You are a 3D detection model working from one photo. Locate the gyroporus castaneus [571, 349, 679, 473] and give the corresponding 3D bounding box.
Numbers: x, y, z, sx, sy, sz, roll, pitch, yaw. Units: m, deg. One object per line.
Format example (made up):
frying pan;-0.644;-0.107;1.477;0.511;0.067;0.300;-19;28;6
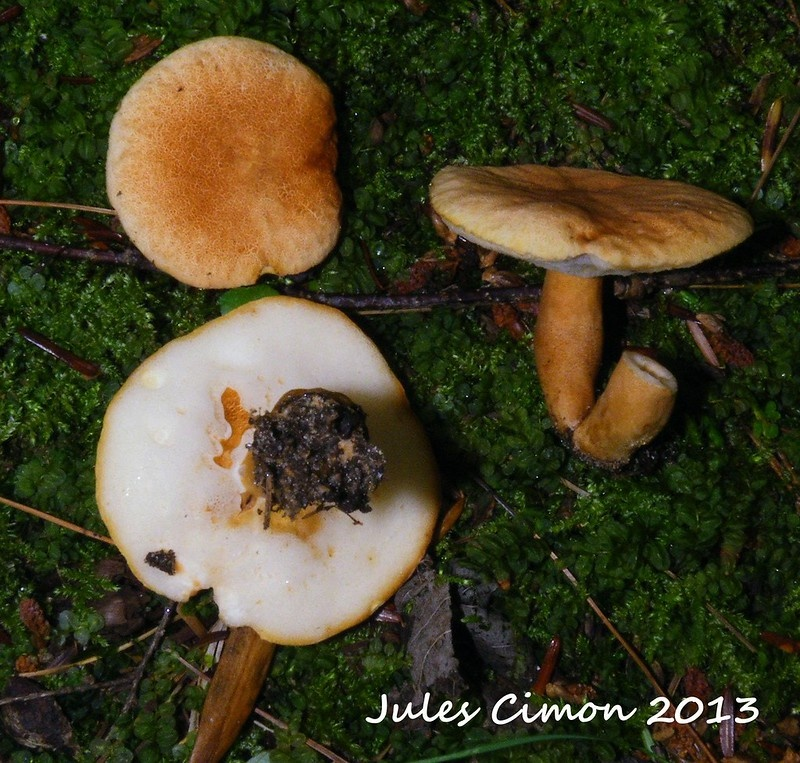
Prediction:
gyroporus castaneus;0.812;0.119;3.154;0.345;0.438;0.263;39;52;8
